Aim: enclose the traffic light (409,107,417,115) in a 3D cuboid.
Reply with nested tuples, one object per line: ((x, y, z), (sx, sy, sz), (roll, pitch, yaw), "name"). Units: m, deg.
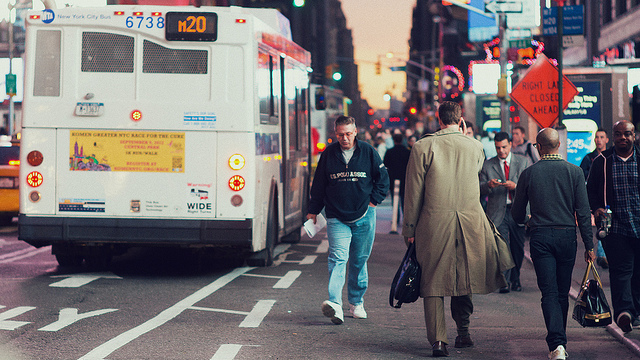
((5.820, -4.318, 51.743), (0.488, 0.469, 0.106), (1, 2, -16), "traffic light")

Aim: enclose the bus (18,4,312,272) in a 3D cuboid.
((-2.722, -1.034, 18.912), (4.144, 3.803, 7.200), (0, 2, 8), "bus")

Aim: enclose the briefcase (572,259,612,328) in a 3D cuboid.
((4.143, 1.709, 12.726), (0.500, 1.082, 0.610), (0, 0, 12), "briefcase")

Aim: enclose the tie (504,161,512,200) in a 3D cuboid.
((3.649, 0.019, 16.043), (0.078, 0.715, 0.080), (0, -10, -17), "tie")

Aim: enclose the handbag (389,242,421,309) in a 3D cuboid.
((1.282, 1.455, 12.681), (0.412, 1.092, 0.487), (6, -7, -17), "handbag")

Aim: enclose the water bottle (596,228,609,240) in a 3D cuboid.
((4.536, 0.872, 13.279), (0.162, 0.207, 0.145), (5, 9, 24), "water bottle")
